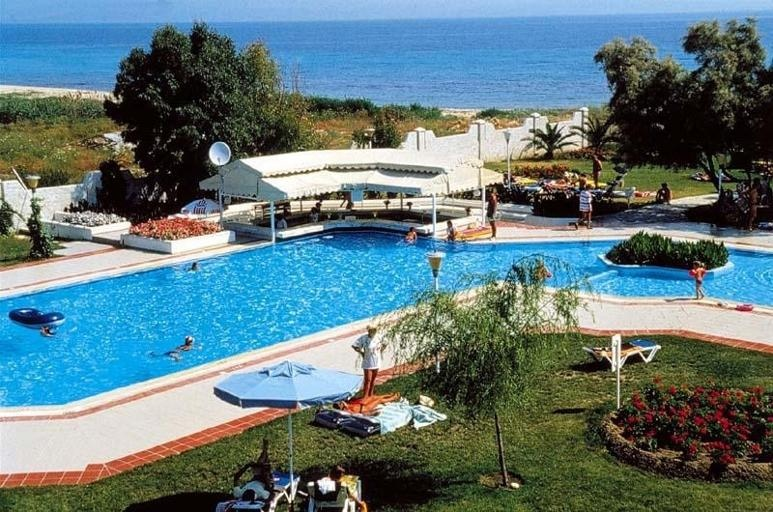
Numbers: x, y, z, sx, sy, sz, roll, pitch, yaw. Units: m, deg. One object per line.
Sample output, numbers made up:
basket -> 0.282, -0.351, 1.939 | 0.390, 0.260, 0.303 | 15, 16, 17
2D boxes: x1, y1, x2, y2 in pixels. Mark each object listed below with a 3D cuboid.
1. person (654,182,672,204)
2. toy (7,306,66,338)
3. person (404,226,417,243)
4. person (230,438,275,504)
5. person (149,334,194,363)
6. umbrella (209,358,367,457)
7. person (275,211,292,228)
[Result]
person -> 14.302, -3.314, 36.304 | 0.696, 1.060, 1.442 | 3, 14, 21
toy -> -11.213, 1.983, 22.531 | 1.362, 0.560, 0.921 | 8, 15, 35
person -> 1.095, -1.012, 31.597 | 0.553, 0.696, 1.261 | -2, 13, 2
person -> -2.560, 4.474, 14.303 | 0.674, 1.369, 0.406 | 6, -28, 10
person -> -6.332, 2.837, 21.372 | 0.632, 0.472, 1.046 | 14, 19, 25
umbrella -> -1.834, 2.605, 14.455 | 1.914, 1.305, 1.887 | 8, 16, 40
person -> -4.888, -1.670, 33.221 | 0.563, 0.561, 2.495 | -4, 14, -6
